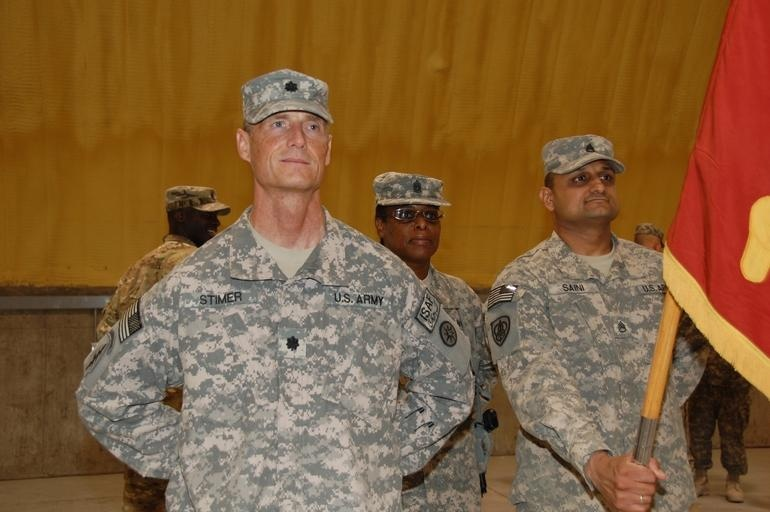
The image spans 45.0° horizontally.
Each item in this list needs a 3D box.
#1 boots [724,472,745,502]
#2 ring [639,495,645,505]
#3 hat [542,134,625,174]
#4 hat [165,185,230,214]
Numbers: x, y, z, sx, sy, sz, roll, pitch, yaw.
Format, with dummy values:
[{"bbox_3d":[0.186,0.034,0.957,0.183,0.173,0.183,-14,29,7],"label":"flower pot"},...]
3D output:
[{"bbox_3d":[3.472,2.292,9.269,0.187,0.249,0.252,-1,-4,4],"label":"boots"},{"bbox_3d":[1.365,1.285,4.953,0.027,0.046,0.017,-1,-4,11],"label":"ring"},{"bbox_3d":[1.256,-0.669,6.170,0.314,0.150,0.397,2,-5,-27],"label":"hat"},{"bbox_3d":[-1.765,-0.533,8.708,0.459,0.151,0.324,5,1,3],"label":"hat"}]
